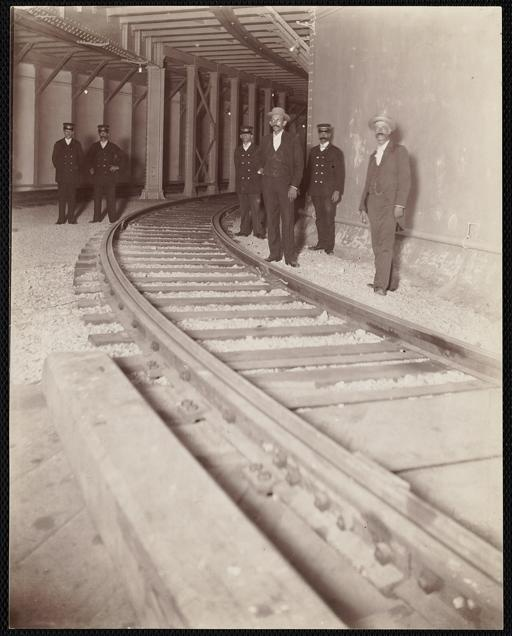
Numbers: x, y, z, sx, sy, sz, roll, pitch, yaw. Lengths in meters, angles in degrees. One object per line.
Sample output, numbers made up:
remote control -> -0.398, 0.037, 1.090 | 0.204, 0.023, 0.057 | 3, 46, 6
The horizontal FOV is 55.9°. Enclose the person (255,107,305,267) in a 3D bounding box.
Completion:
person -> 0.351, -1.921, 7.147 | 0.632, 2.216, 1.113 | 2, 8, 3

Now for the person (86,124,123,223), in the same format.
person -> -3.529, -3.367, 11.327 | 0.789, 2.241, 1.146 | -1, 9, -22

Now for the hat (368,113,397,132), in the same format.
hat -> 1.443, -2.235, 5.528 | 0.284, 0.228, 0.309 | 4, 10, 7

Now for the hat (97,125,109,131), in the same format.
hat -> -3.451, -4.348, 10.953 | 0.242, 0.164, 0.320 | 2, 18, -5
